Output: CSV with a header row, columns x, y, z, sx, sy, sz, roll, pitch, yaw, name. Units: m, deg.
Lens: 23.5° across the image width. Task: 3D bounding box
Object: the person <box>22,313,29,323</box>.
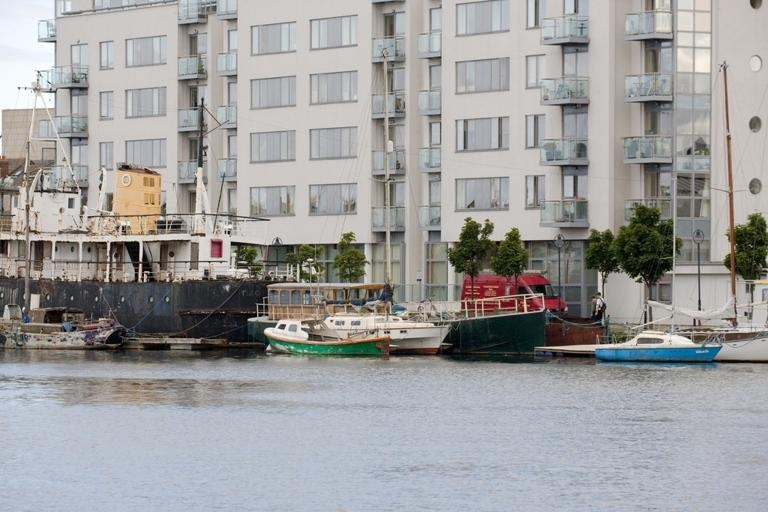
x,y,z,sx,sy,sz,roll,pitch,yaw,name
-21.514,3.504,110.614,0.276,0.636,0.735,0,-3,-42,person
